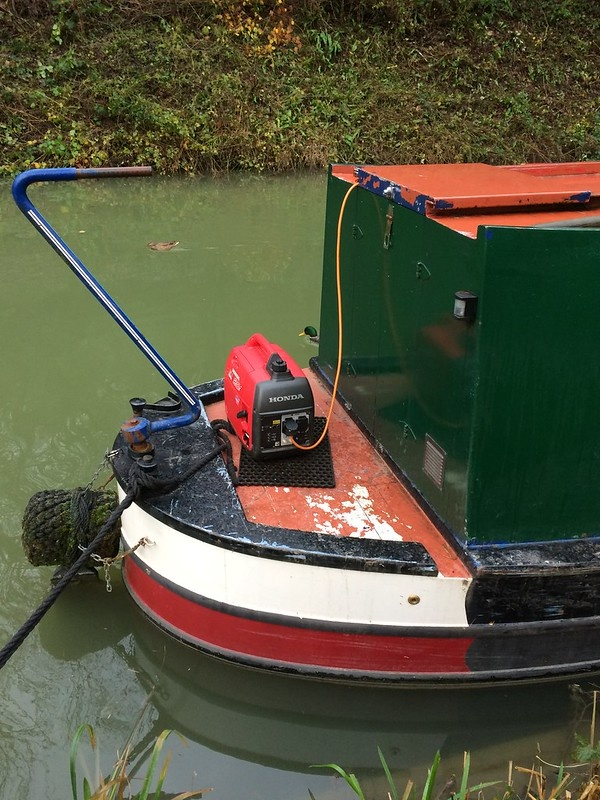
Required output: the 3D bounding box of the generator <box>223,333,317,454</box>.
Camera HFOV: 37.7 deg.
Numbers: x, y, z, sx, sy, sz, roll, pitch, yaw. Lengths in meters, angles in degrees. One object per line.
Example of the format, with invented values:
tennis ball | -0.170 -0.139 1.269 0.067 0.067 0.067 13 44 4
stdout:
generator | -0.124 -0.022 3.631 0.325 0.413 0.507 -6 28 -16
